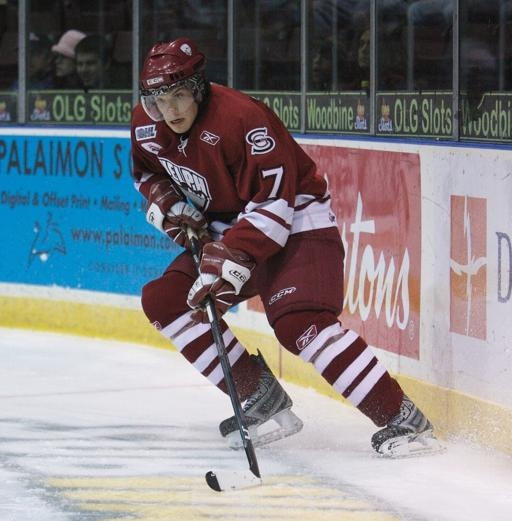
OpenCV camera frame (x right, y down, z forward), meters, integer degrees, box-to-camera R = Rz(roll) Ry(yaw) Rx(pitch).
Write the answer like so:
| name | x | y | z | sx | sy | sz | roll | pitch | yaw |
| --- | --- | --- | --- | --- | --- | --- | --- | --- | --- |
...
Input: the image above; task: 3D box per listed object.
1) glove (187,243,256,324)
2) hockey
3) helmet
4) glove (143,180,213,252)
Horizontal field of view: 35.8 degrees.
| name | x | y | z | sx | sy | sz | roll | pitch | yaw |
| --- | --- | --- | --- | --- | --- | --- | --- | --- | --- |
| glove | -0.111 | 0.072 | 2.343 | 0.101 | 0.227 | 0.173 | 22 | 30 | -34 |
| hockey | -0.071 | 0.381 | 2.292 | 0.163 | 0.526 | 0.318 | 0 | 6 | -1 |
| helmet | -0.251 | -0.541 | 2.381 | 0.192 | 0.244 | 0.228 | -1 | 6 | -7 |
| glove | -0.274 | -0.149 | 2.601 | 0.243 | 0.104 | 0.177 | 43 | -18 | 3 |
